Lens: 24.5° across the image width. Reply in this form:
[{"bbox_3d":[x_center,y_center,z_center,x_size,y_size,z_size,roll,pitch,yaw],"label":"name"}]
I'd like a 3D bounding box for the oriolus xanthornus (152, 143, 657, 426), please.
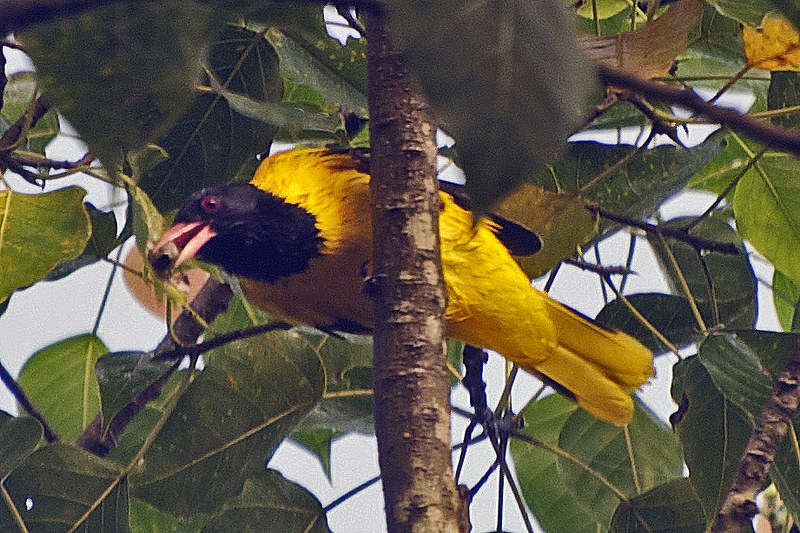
[{"bbox_3d":[-0.007,0.013,4.882,1.663,0.527,0.533,5,-60,-8],"label":"oriolus xanthornus"}]
